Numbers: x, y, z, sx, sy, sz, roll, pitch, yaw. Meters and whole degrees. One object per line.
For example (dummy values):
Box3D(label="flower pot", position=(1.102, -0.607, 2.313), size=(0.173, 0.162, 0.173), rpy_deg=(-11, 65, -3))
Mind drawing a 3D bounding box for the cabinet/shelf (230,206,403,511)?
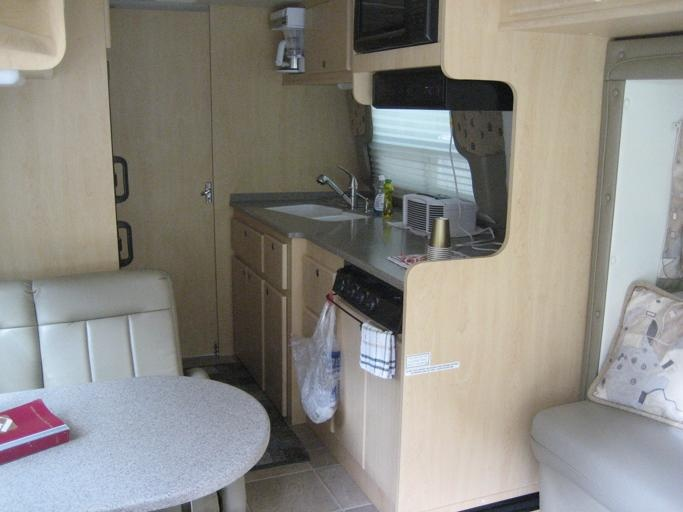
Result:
Box3D(label="cabinet/shelf", position=(-0.103, 0.493, 2.548), size=(0.383, 0.730, 1.229), rpy_deg=(-1, 19, -19))

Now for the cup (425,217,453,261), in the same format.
Box3D(label="cup", position=(0.385, -0.070, 2.126), size=(0.085, 0.156, 0.189), rpy_deg=(6, 16, 21))
